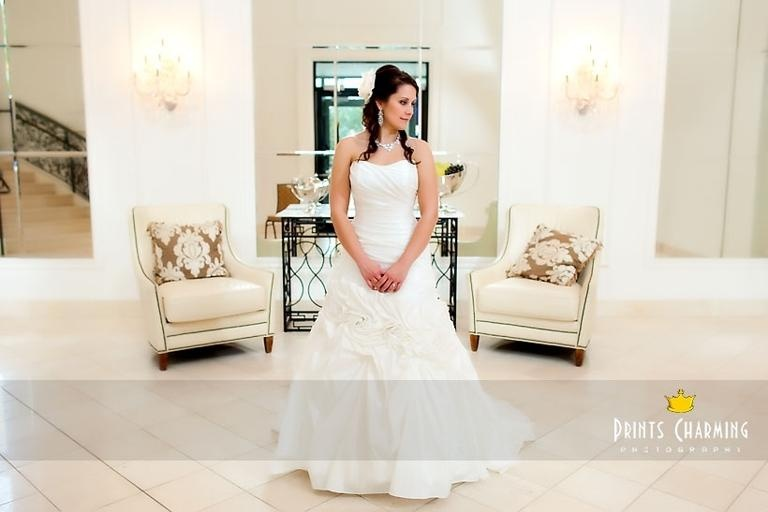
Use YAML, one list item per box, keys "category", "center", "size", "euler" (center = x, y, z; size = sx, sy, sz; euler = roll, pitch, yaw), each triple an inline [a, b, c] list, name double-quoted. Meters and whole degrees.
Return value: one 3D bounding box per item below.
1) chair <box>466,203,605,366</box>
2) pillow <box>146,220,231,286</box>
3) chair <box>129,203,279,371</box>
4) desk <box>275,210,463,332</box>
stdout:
- category: "chair"
  center: [1.576, 0.189, 5.674]
  size: [1.047, 1.469, 1.300]
  euler: [4, 6, 27]
- category: "pillow"
  center: [-1.878, -0.009, 5.400]
  size: [0.572, 0.465, 0.240]
  euler: [-4, 2, -25]
- category: "chair"
  center: [-1.769, 0.224, 5.494]
  size: [1.166, 1.436, 1.340]
  euler: [-4, 7, -25]
- category: "desk"
  center: [-0.230, 0.056, 6.350]
  size: [2.232, 1.590, 1.233]
  euler: [0, 4, 1]
